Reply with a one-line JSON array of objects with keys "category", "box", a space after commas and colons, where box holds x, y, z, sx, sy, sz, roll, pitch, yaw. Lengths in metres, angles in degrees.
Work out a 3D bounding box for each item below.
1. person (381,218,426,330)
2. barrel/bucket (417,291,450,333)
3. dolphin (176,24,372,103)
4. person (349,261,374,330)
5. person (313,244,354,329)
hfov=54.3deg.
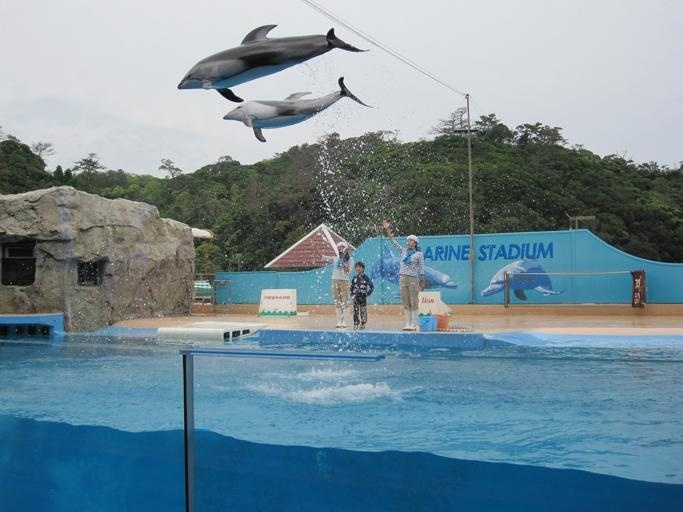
[{"category": "person", "box": [1.228, 0.317, 12.251, 0.666, 1.997, 0.742, 0, -1, 23]}, {"category": "barrel/bucket", "box": [1.784, 1.003, 12.821, 0.515, 0.734, 0.707, 0, -3, 24]}, {"category": "dolphin", "box": [-1.097, -2.855, 9.331, 2.756, 0.813, 0.368, 0, -1, 31]}, {"category": "person", "box": [0.382, 0.737, 12.605, 0.402, 1.223, 1.122, 0, -1, 2]}, {"category": "person", "box": [-0.089, 0.549, 12.639, 0.669, 1.602, 0.562, -1, -4, -2]}]
